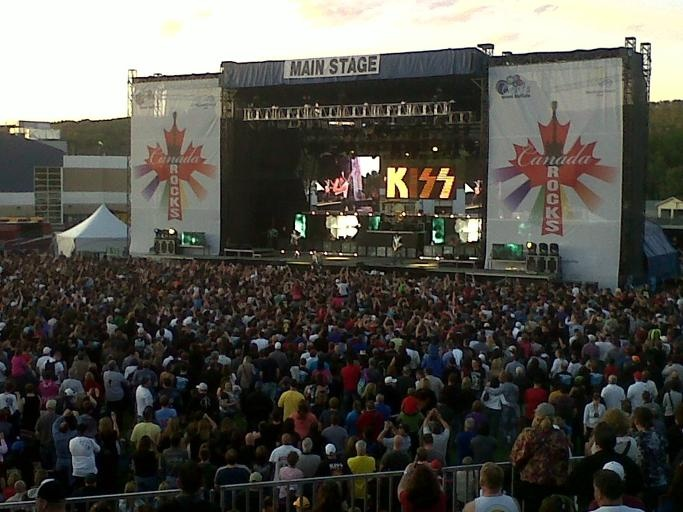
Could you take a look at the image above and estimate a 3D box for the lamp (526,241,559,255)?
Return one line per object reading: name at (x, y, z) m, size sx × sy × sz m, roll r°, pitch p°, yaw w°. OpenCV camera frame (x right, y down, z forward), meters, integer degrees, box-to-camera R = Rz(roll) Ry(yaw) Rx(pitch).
lamp at (7.568, -0.273, 34.984) m, size 0.899 × 0.603 × 0.528 m, roll -1°, pitch 5°, yaw 25°
